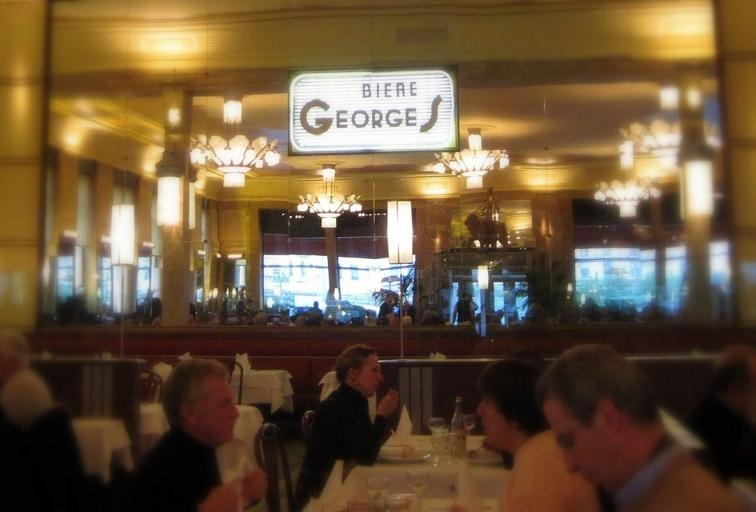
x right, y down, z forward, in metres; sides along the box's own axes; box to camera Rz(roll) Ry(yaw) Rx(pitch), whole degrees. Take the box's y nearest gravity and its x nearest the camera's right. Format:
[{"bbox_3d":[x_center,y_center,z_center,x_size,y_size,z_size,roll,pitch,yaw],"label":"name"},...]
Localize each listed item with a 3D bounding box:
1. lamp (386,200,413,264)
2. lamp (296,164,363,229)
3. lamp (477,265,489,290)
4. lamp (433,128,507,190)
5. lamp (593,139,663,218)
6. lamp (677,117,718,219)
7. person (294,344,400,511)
[{"bbox_3d":[0.243,-0.272,8.930,0.252,0.673,0.463,0,-5,-1],"label":"lamp"},{"bbox_3d":[-0.770,-0.971,13.136,1.127,1.018,1.124,-3,5,-36],"label":"lamp"},{"bbox_3d":[1.473,0.293,11.535,0.165,0.349,0.167,-1,-5,6],"label":"lamp"},{"bbox_3d":[1.494,-1.496,12.992,1.242,0.906,1.200,1,-5,-7],"label":"lamp"},{"bbox_3d":[3.717,-1.116,12.350,0.927,1.060,0.878,3,-7,-17],"label":"lamp"},{"bbox_3d":[3.354,-0.890,8.735,0.304,1.288,0.333,-4,1,-38],"label":"lamp"},{"bbox_3d":[-0.221,1.217,5.882,0.763,1.145,0.539,0,-5,-8],"label":"person"}]
